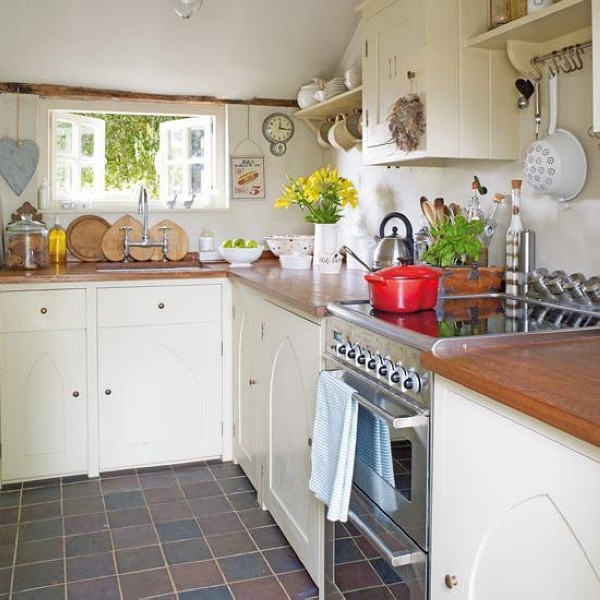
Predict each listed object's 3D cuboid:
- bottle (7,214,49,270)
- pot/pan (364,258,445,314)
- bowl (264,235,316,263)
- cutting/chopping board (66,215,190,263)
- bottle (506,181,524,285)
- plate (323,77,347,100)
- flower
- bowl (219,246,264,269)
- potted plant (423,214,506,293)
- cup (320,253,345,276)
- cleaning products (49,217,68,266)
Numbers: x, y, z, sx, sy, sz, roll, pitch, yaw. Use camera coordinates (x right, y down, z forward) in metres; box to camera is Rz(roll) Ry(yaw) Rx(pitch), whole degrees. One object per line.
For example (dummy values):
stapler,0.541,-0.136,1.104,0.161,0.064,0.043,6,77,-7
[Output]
bottle,-1.497,-0.321,2.870,0.263,0.346,0.251,0,4,0
pot/pan,0.279,-0.029,1.498,0.184,0.094,0.143,-4,2,-27
bowl,-0.058,-0.334,3.170,0.286,0.117,0.183,0,5,-1
cutting/chopping board,-1.087,-0.379,3.300,0.551,0.335,0.040,3,-9,-9
bottle,0.762,-0.231,1.855,0.052,0.392,0.297,2,6,21
plate,0.209,-1.214,2.951,0.104,0.111,0.123,-20,32,-26
flower,0.110,-0.596,2.965,0.324,0.336,0.455,-3,6,-30
bowl,-0.352,-0.263,3.105,0.237,0.119,0.299,-1,6,-9
potted plant,0.546,-0.152,1.923,0.273,0.304,0.314,-3,4,-9
cup,0.156,-0.185,2.626,0.110,0.082,0.110,-1,1,0
cleaning products,-1.454,-0.358,3.139,0.103,0.290,0.335,-3,6,-25
